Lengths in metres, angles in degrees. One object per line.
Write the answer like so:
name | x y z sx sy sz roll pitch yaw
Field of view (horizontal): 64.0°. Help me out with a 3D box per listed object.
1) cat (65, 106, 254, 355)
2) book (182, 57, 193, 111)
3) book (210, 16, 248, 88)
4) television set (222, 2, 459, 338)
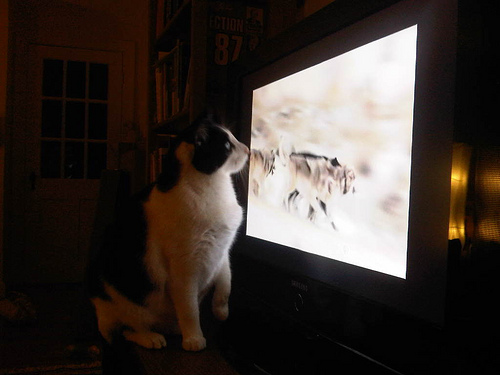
cat | -0.313 0.164 1.602 0.658 0.875 0.479 -2 2 15
book | -0.320 -0.524 2.049 0.034 0.253 0.282 6 6 -11
book | -0.103 -0.688 1.973 0.206 0.419 0.044 2 2 -7
television set | 0.227 -0.051 1.233 0.069 0.719 0.837 3 8 -37
